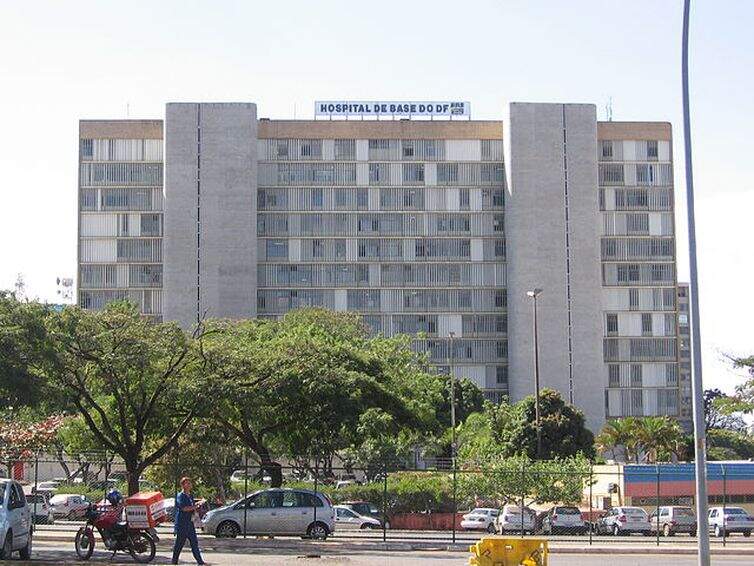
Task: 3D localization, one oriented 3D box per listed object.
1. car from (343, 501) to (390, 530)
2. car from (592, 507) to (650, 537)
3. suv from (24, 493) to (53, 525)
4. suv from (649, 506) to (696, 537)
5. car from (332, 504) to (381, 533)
[{"bbox_3d":[-0.642,17.575,145.584,2.924,1.806,1.804,-1,-5,-8],"label":"car"},{"bbox_3d":[18.385,17.674,143.077,3.772,2.182,1.740,-8,-10,29],"label":"car"},{"bbox_3d":[-24.519,16.443,139.761,2.022,1.889,3.633,1,-1,-6],"label":"suv"},{"bbox_3d":[22.317,18.129,144.228,2.388,2.169,4.571,0,-2,-8],"label":"suv"},{"bbox_3d":[-1.427,17.391,143.349,3.150,1.993,3.229,-2,-10,-5],"label":"car"}]
